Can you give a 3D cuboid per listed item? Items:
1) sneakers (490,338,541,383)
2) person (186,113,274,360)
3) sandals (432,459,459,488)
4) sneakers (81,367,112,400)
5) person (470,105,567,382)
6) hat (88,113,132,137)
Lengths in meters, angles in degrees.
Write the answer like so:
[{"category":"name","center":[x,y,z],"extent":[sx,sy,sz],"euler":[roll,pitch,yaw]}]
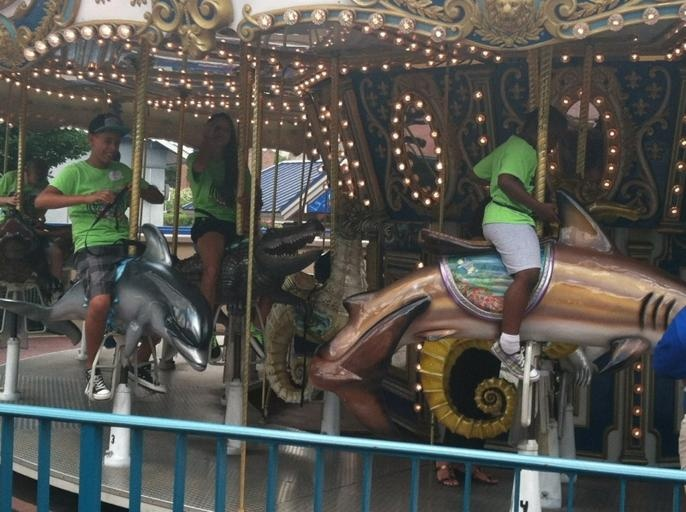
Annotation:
[{"category":"sneakers","center":[1.336,0.858,7.346],"extent":[0.198,0.226,0.572],"euler":[-17,23,-26]},{"category":"person","center":[-1.274,-0.437,9.173],"extent":[0.653,2.035,1.062],"euler":[3,-1,-8]},{"category":"sandals","center":[0.888,1.922,7.986],"extent":[0.165,0.204,0.492],"euler":[2,-9,-16]},{"category":"sneakers","center":[-2.304,1.201,8.455],"extent":[0.243,0.269,0.661],"euler":[1,-3,-25]},{"category":"person","center":[1.433,-0.083,7.400],"extent":[0.575,1.564,0.578],"euler":[3,-1,-3]},{"category":"hat","center":[-2.229,-1.248,8.653],"extent":[0.335,0.185,0.248],"euler":[-3,5,-3]}]
